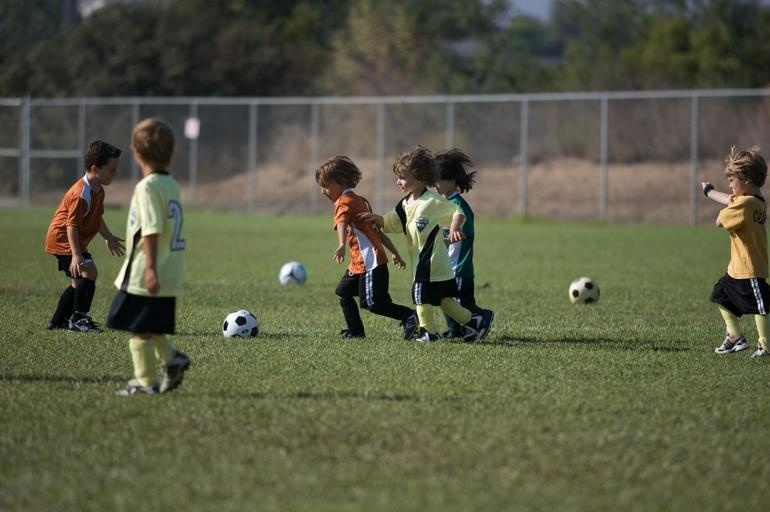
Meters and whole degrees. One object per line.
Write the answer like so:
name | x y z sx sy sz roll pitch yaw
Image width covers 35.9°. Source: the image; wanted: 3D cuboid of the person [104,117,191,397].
person | -2.543 0.019 12.870 0.795 2.971 0.368 -1 4 -11

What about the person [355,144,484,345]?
person | 0.549 -0.135 14.110 1.286 2.301 0.371 0 4 2

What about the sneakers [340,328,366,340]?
sneakers | -0.396 0.938 14.258 0.320 0.137 0.117 3 -2 -7

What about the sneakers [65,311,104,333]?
sneakers | -3.598 0.789 14.256 0.418 0.234 0.277 -2 5 -16

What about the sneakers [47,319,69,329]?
sneakers | -3.916 0.817 14.320 0.288 0.125 0.097 -4 2 6

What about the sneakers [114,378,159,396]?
sneakers | -2.673 1.426 12.958 0.520 0.236 0.177 5 -3 4

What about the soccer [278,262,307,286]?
soccer | -1.316 0.211 16.968 0.380 0.335 0.330 -9 18 -8

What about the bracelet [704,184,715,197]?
bracelet | 3.852 -0.798 14.185 0.075 0.099 0.250 3 3 6

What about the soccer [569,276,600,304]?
soccer | 2.612 0.467 15.631 0.398 0.353 0.285 0 4 0

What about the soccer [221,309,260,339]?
soccer | -1.713 0.854 14.232 0.341 0.334 0.351 -5 20 46

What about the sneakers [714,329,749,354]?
sneakers | 4.081 1.046 13.965 0.453 0.238 0.173 -2 -3 -1
